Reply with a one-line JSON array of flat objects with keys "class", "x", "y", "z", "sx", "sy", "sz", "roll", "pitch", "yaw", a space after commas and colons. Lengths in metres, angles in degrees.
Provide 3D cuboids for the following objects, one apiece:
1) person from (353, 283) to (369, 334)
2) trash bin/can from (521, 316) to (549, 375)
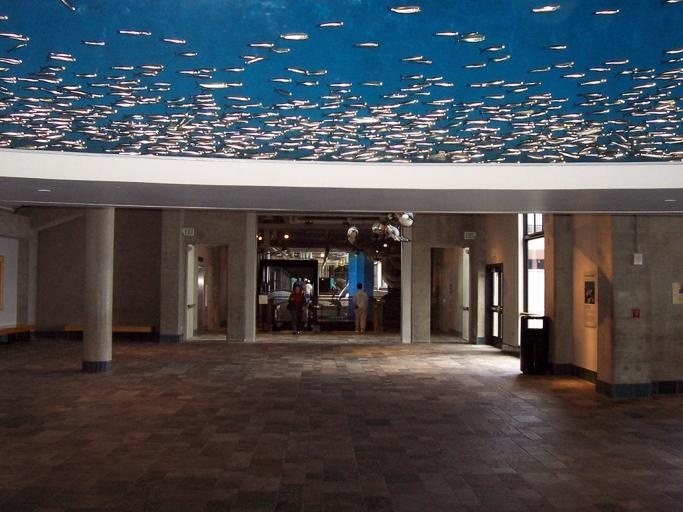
[{"class": "person", "x": 0.733, "y": 2.006, "z": 21.984, "sx": 0.559, "sy": 1.947, "sz": 1.493, "roll": 0, "pitch": 1, "yaw": 2}, {"class": "trash bin/can", "x": 4.528, "y": 2.063, "z": 13.058, "sx": 0.627, "sy": 1.319, "sz": 0.426, "roll": 1, "pitch": 1, "yaw": 11}]
